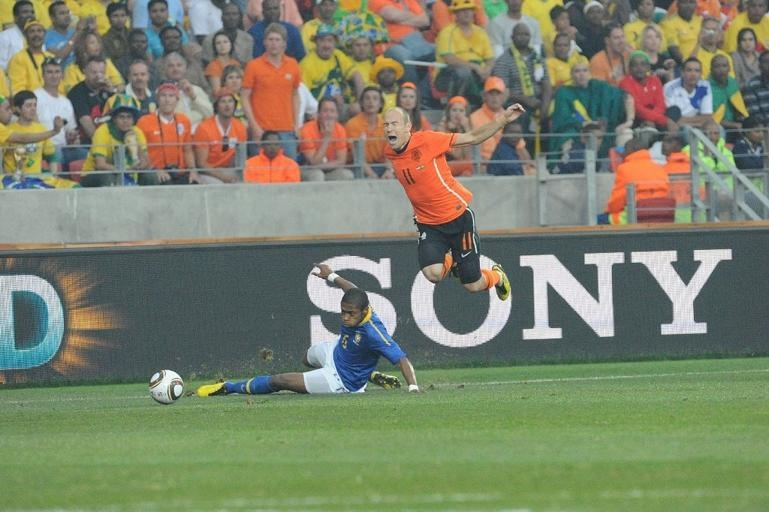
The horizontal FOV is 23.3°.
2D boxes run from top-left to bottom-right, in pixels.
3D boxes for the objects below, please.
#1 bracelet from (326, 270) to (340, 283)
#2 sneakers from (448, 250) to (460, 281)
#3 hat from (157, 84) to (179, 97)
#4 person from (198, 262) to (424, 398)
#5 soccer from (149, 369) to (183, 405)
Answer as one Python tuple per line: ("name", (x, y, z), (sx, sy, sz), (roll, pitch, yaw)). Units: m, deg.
("bracelet", (-0.808, 0.302, 28.932), (0.140, 0.146, 0.181), (-8, -28, -6))
("sneakers", (1.096, 0.131, 29.163), (0.241, 0.320, 0.287), (5, 25, 7))
("hat", (-3.866, -2.968, 33.050), (0.239, 0.144, 0.239), (1, -6, -11))
("person", (-0.936, 1.256, 28.327), (2.858, 1.602, 0.463), (-1, 4, 4))
("soccer", (-3.341, 1.954, 28.231), (0.551, 0.567, 0.544), (-7, 16, -16))
